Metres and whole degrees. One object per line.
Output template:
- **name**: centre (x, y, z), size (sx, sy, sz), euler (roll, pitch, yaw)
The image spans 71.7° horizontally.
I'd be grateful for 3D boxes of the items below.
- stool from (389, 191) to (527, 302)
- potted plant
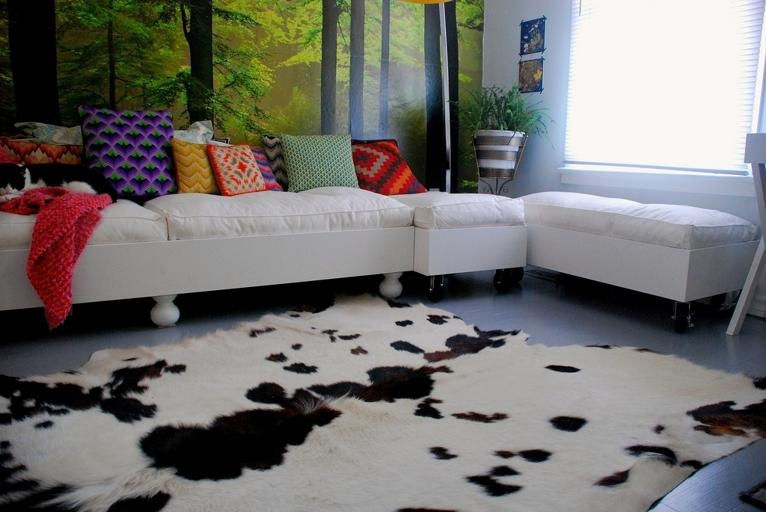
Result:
- **stool**: centre (0.521, -0.085, 4.097), size (1.123, 0.567, 1.132), euler (-2, 1, 17)
- **potted plant**: centre (1.044, -1.187, 5.181), size (0.702, 0.921, 0.957), euler (-8, 20, -23)
